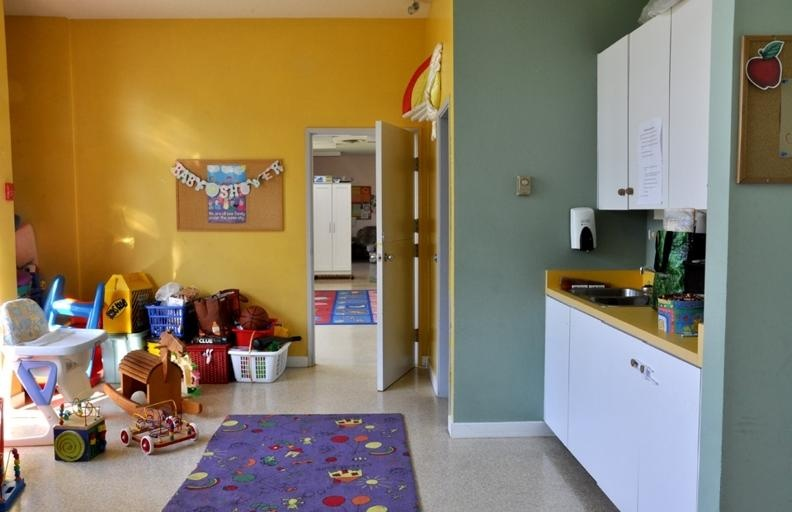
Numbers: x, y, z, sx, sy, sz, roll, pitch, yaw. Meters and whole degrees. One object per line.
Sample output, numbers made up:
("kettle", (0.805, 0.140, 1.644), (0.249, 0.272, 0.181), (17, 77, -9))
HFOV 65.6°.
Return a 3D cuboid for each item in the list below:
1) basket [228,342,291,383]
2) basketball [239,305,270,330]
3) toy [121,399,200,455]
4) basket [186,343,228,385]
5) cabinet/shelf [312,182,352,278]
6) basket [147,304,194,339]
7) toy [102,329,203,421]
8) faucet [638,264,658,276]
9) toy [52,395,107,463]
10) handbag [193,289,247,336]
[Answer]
("basket", (-1.307, 1.002, 5.808), (0.444, 0.192, 0.299), (-1, 1, -1))
("basketball", (-1.351, 0.580, 5.914), (0.240, 0.241, 0.247), (7, 11, -1))
("toy", (-1.784, 1.267, 4.637), (0.521, 0.259, 0.509), (3, 2, 21))
("basket", (-1.778, 1.019, 5.898), (0.380, 0.345, 0.371), (0, -1, -3))
("cabinet/shelf", (-1.250, -0.500, 11.932), (0.677, 1.812, 0.337), (0, 13, 2))
("basket", (-2.151, 0.628, 5.926), (0.422, 0.268, 0.305), (-1, -1, -8))
("toy", (-1.998, 0.932, 5.037), (1.010, 0.697, 0.426), (5, 4, 40))
("faucet", (1.832, 0.111, 4.530), (0.079, 0.079, 0.179), (3, 13, 14))
("toy", (-2.311, 1.259, 4.575), (0.333, 0.451, 0.460), (1, 2, -1))
("handbag", (-1.749, 0.559, 6.059), (0.339, 0.392, 0.590), (-7, 8, 5))
